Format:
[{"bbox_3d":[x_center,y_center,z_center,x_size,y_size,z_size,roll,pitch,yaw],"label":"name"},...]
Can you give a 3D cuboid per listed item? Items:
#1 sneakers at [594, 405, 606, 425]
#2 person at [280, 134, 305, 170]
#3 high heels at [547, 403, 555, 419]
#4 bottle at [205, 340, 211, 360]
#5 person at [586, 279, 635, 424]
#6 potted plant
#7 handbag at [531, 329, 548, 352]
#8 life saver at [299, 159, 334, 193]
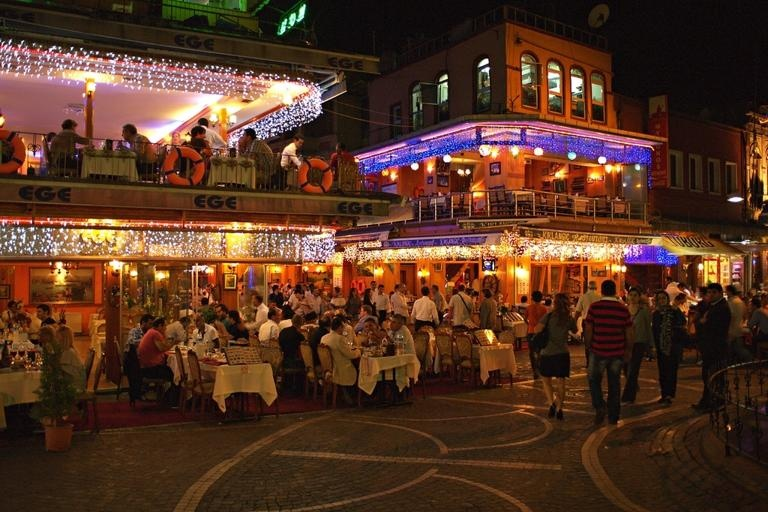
[{"bbox_3d":[4.563,3.358,16.573,0.184,0.463,0.194,6,4,-14],"label":"sneakers"},{"bbox_3d":[-2.530,-2.803,21.244,0.575,1.001,1.255,1,-1,-8],"label":"person"},{"bbox_3d":[3.669,3.390,17.151,0.123,0.297,0.154,10,8,27],"label":"high heels"},{"bbox_3d":[-4.175,2.232,18.498,0.253,0.446,0.248,1,-4,0],"label":"bottle"},{"bbox_3d":[4.782,2.035,16.591,1.173,3.032,0.719,1,-2,-39],"label":"person"},{"bbox_3d":[-6.596,2.672,15.713,0.758,2.281,1.197,1,-2,-24],"label":"potted plant"},{"bbox_3d":[3.354,1.822,16.821,0.335,0.633,0.453,5,0,27],"label":"handbag"},{"bbox_3d":[-1.830,-2.143,20.884,0.950,0.929,0.297,1,-2,-31],"label":"life saver"}]
